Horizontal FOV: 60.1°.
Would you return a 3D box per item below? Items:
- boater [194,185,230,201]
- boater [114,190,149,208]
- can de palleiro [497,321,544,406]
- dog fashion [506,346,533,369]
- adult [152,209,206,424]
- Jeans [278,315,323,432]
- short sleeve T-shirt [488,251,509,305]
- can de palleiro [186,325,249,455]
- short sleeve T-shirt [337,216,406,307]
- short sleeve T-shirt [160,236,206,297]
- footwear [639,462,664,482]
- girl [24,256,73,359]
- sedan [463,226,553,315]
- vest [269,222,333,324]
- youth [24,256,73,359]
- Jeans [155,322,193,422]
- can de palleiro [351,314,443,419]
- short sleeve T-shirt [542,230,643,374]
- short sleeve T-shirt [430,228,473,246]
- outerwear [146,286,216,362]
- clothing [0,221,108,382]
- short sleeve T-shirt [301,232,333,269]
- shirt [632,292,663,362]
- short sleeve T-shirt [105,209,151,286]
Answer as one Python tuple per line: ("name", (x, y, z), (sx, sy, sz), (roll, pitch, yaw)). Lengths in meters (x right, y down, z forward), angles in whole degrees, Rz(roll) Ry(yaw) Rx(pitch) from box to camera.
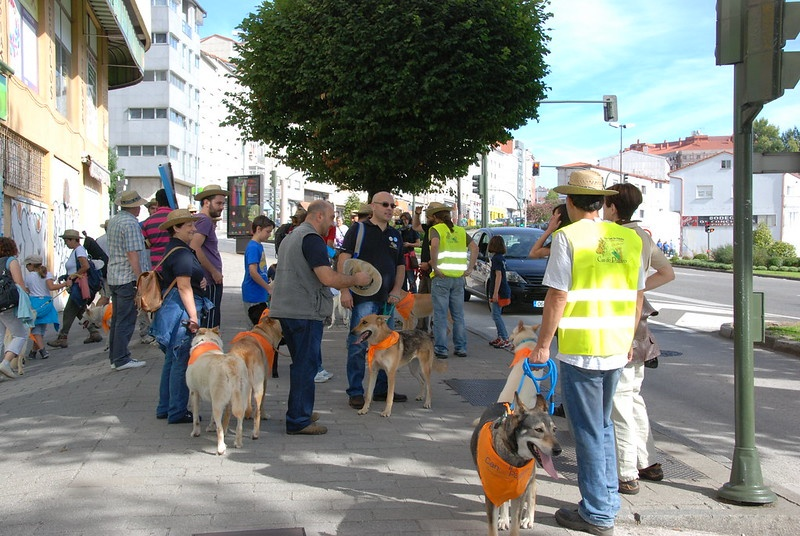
("boater", (-2.769, -1.115, 10.220), (0.426, 0.247, 0.560), (-1, 4, -14))
("boater", (-4.316, -1.119, 11.208), (0.366, 0.148, 0.388), (20, 32, 34))
("can de palleiro", (1.471, 1.201, 8.491), (0.290, 1.239, 0.672), (12, -23, 9))
("dog fashion", (1.379, 1.004, 7.861), (0.208, 0.342, 0.158), (35, -1, 20))
("adult", (-2.854, 0.626, 9.076), (0.874, 2.765, 0.944), (0, -1, -11))
("Jeans", (-1.198, 1.299, 8.533), (0.499, 1.378, 0.392), (-2, 4, -24))
("short sleeve T-shirt", (1.910, 0.210, 13.235), (0.359, 0.915, 0.331), (1, 4, 8))
("can de palleiro", (-2.219, 1.475, 8.383), (0.548, 1.288, 1.770), (1, 2, -30))
("short sleeve T-shirt", (-0.372, -0.085, 10.003), (0.991, 1.200, 0.638), (7, -4, -23))
("short sleeve T-shirt", (-2.825, -0.020, 9.078), (0.481, 0.778, 0.888), (-3, 2, -16))
("footwear", (2.698, 2.187, 7.381), (0.312, 0.138, 0.122), (-2, 4, -26))
("girl", (-6.770, 0.718, 13.036), (1.138, 1.880, 0.684), (1, 1, -24))
("sedan", (2.966, -0.029, 18.140), (1.578, 1.372, 2.708), (1, -3, -15))
("vest", (-1.235, 0.017, 8.844), (0.790, 1.261, 1.149), (-1, 1, -30))
("youth", (-6.654, 0.722, 13.014), (0.694, 1.869, 2.499), (-2, 4, -27))
("Jeans", (-2.999, 1.411, 8.696), (0.355, 1.362, 0.723), (8, -16, -29))
("can de palleiro", (0.041, 1.333, 9.660), (1.718, 1.333, 0.515), (2, 1, -43))
("short sleeve T-shirt", (1.758, 0.249, 6.560), (0.993, 1.428, 0.281), (-1, 4, -12))
("short sleeve T-shirt", (0.913, -0.617, 12.709), (0.663, 0.349, 0.199), (0, -10, -33))
("outerwear", (-2.869, 0.719, 9.299), (0.717, 1.243, 0.987), (10, -17, -11))
("clothing", (-6.586, 0.692, 13.132), (2.079, 2.737, 1.655), (-10, 35, -31))
("short sleeve T-shirt", (-1.117, -0.231, 8.680), (0.366, 0.470, 0.700), (-5, 6, -22))
("shirt", (2.507, 0.621, 7.317), (0.391, 0.653, 0.332), (-7, 19, -13))
("short sleeve T-shirt", (-4.447, -0.330, 11.303), (0.656, 1.210, 1.046), (-4, 4, -41))
